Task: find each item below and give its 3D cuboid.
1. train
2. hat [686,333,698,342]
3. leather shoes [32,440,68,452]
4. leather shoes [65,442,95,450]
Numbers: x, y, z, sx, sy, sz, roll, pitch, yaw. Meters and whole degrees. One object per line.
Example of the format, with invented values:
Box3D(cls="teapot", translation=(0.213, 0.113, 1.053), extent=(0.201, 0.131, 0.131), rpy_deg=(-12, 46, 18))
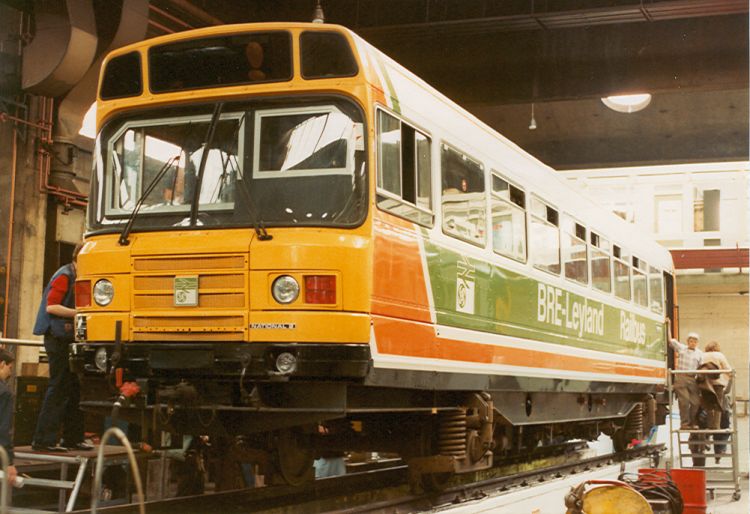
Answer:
Box3D(cls="train", translation=(-0.042, 0.090, 11.286), extent=(3.069, 3.164, 8.668), rpy_deg=(-3, -6, 28))
Box3D(cls="hat", translation=(7.359, 1.827, 19.339), extent=(0.340, 0.151, 0.499), rpy_deg=(1, -7, 17))
Box3D(cls="leather shoes", translation=(-4.185, 2.415, 10.690), extent=(0.504, 0.198, 0.167), rpy_deg=(1, -7, -8))
Box3D(cls="leather shoes", translation=(-3.901, 2.508, 11.140), extent=(0.330, 0.140, 0.112), rpy_deg=(8, -14, -12))
